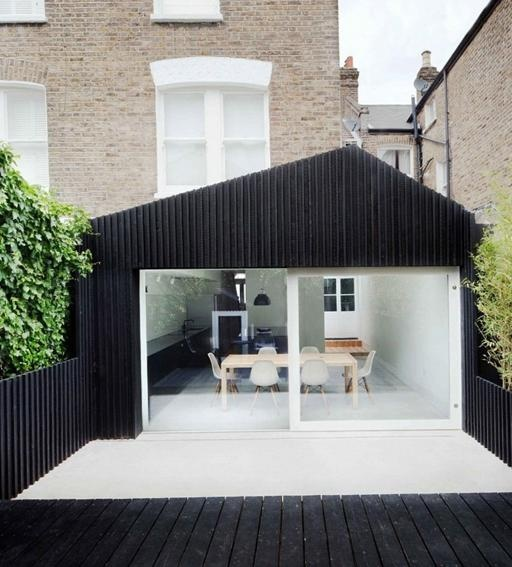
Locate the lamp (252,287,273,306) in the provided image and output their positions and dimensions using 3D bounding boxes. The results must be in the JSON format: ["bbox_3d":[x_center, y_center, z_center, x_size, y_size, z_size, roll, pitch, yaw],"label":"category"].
[{"bbox_3d":[0.079,0.172,7.950,0.172,0.273,0.211,1,8,8],"label":"lamp"}]
